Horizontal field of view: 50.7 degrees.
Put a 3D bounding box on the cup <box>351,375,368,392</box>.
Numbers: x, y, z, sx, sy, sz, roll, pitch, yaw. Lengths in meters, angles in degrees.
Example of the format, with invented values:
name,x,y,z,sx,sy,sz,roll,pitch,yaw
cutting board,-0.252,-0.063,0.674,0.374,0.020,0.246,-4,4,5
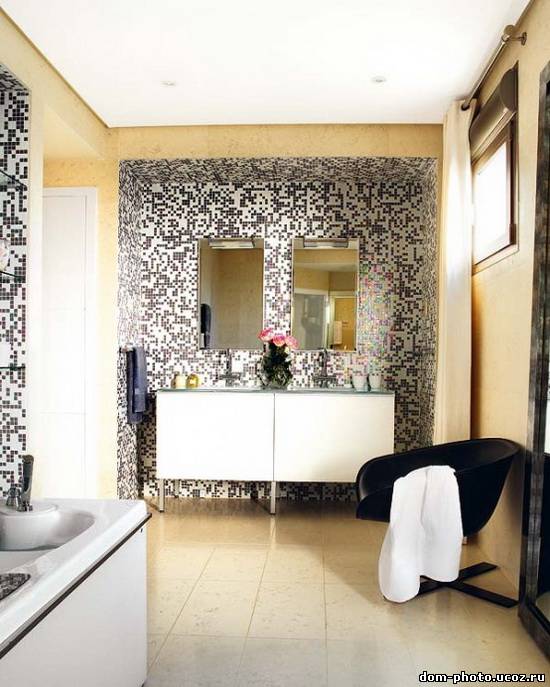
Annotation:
name,x,y,z,sx,sy,sz,roll,pitch,yaw
cup,0.601,0.283,4.111,0.100,0.093,0.096,1,-1,0

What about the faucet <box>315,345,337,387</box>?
name,x,y,z,sx,sy,sz,roll,pitch,yaw
faucet,0.373,0.180,4.357,0.159,0.297,0.204,-2,-2,5

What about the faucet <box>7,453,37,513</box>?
name,x,y,z,sx,sy,sz,roll,pitch,yaw
faucet,-0.749,0.402,1.703,0.073,0.154,0.202,0,-3,-24

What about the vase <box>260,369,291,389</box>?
name,x,y,z,sx,sy,sz,roll,pitch,yaw
vase,0.005,0.252,4.160,0.144,0.103,0.135,1,-4,-21

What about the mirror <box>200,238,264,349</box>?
name,x,y,z,sx,sy,sz,roll,pitch,yaw
mirror,-0.341,-0.388,4.510,0.516,1.003,0.250,2,-30,-6

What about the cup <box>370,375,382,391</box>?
name,x,y,z,sx,sy,sz,roll,pitch,yaw
cup,0.713,0.287,4.123,0.076,0.083,0.095,4,7,38

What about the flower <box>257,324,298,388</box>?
name,x,y,z,sx,sy,sz,roll,pitch,yaw
flower,0.007,0.128,4.249,0.227,0.451,0.262,4,-6,27

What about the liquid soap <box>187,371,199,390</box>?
name,x,y,z,sx,sy,sz,roll,pitch,yaw
liquid soap,-0.603,0.277,4.279,0.083,0.136,0.092,2,-4,-11

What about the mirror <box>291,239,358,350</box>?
name,x,y,z,sx,sy,sz,roll,pitch,yaw
mirror,0.388,-0.306,4.469,0.505,1.069,0.040,1,26,6

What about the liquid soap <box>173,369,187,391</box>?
name,x,y,z,sx,sy,sz,roll,pitch,yaw
liquid soap,-0.698,0.276,4.288,0.099,0.213,0.108,2,-4,-3

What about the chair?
name,x,y,z,sx,sy,sz,roll,pitch,yaw
chair,0.773,0.846,2.922,0.659,0.677,0.678,-1,-5,2
